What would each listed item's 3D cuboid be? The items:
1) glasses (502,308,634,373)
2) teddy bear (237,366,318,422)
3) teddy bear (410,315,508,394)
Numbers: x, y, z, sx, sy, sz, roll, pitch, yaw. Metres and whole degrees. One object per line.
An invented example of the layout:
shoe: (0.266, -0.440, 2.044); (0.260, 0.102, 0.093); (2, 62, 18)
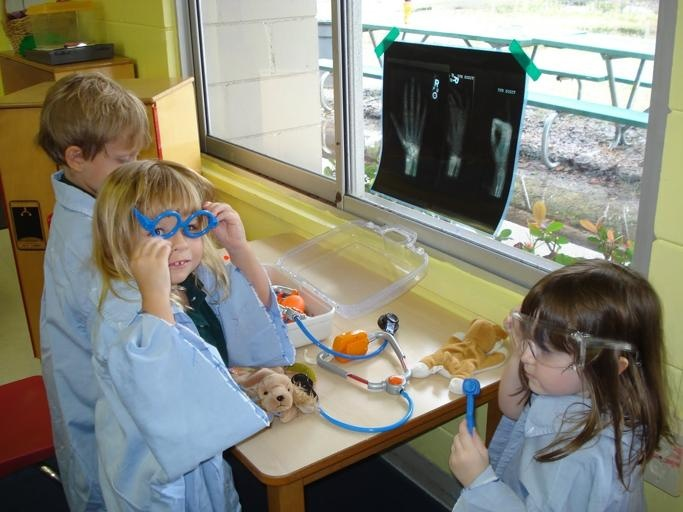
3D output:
glasses: (0.447, 0.171, 0.989); (0.220, 0.092, 0.048); (10, 23, 20)
teddy bear: (-0.144, 0.277, 1.195); (0.111, 0.064, 0.145); (-5, 28, -42)
teddy bear: (0.319, 0.250, 1.356); (0.276, 0.098, 0.175); (-20, 20, -37)
